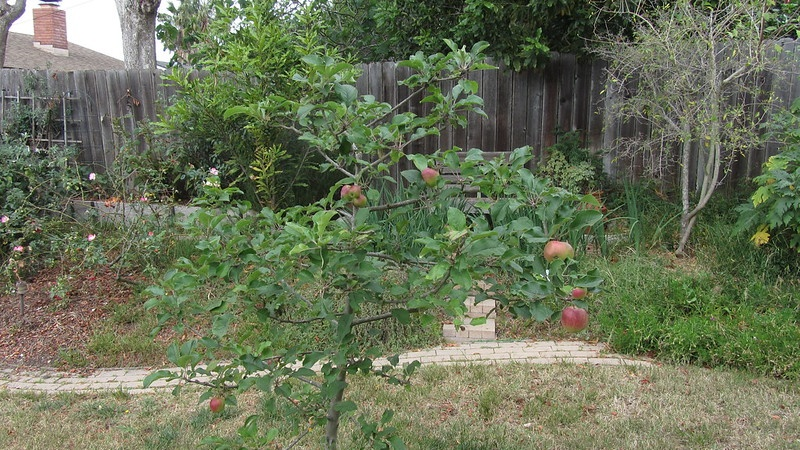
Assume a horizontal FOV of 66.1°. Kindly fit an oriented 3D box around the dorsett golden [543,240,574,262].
[{"bbox_3d":[1.538,0.237,5.925,0.236,0.160,0.213,2,4,8],"label":"dorsett golden"}]

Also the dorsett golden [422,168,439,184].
[{"bbox_3d":[0.306,-0.494,6.250,0.168,0.148,0.082,-2,12,3],"label":"dorsett golden"}]

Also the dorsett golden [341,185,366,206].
[{"bbox_3d":[-0.455,-0.293,6.140,0.170,0.113,0.253,21,4,-1],"label":"dorsett golden"}]

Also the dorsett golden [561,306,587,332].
[{"bbox_3d":[1.700,0.895,6.025,0.243,0.229,0.243,1,7,33],"label":"dorsett golden"}]
